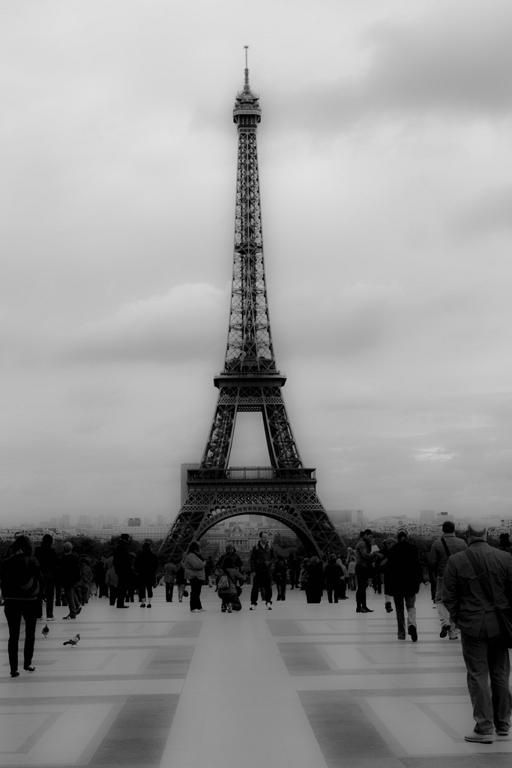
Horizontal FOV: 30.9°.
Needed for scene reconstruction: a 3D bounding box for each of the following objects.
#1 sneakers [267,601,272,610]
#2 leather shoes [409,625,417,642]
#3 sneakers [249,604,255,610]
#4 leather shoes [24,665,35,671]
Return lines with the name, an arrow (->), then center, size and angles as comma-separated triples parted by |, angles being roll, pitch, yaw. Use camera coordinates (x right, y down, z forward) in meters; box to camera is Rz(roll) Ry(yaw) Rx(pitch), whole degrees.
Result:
sneakers -> 0.364, 5.627, 23.500 | 0.137, 0.238, 0.162 | 1, 0, 9
leather shoes -> 2.471, 3.904, 14.565 | 0.103, 0.337, 0.141 | -6, 5, 2
sneakers -> -0.098, 5.509, 22.910 | 0.133, 0.199, 0.107 | -3, -1, 1
leather shoes -> -2.869, 3.579, 11.711 | 0.062, 0.080, 0.121 | 2, -4, 5
